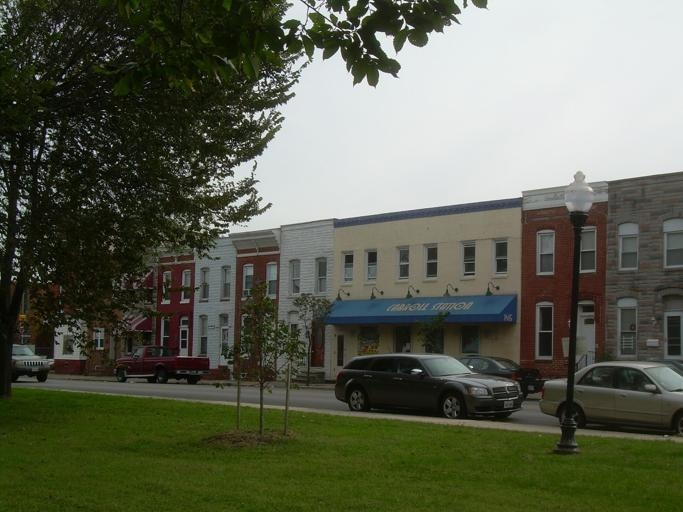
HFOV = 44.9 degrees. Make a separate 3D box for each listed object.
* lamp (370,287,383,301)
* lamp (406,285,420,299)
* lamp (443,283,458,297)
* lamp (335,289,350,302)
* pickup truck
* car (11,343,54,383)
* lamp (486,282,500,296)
[{"bbox_3d":[1.891,1.914,41.723,0.747,0.607,0.378,6,-9,-30],"label":"lamp"},{"bbox_3d":[3.398,1.737,40.093,0.364,0.720,0.758,9,-14,-39],"label":"lamp"},{"bbox_3d":[5.102,1.572,38.577,0.302,0.674,0.784,9,-13,-37],"label":"lamp"},{"bbox_3d":[0.043,2.006,42.989,0.802,0.635,0.249,-7,-13,34],"label":"lamp"},{"bbox_3d":[-8.929,5.448,41.535,5.044,1.885,1.367,-7,-13,33],"label":"pickup truck"},{"bbox_3d":[-15.497,5.396,41.172,1.676,1.771,2.045,6,-12,-24],"label":"car"},{"bbox_3d":[6.764,1.472,37.136,0.654,0.668,0.407,4,-11,-24],"label":"lamp"}]
